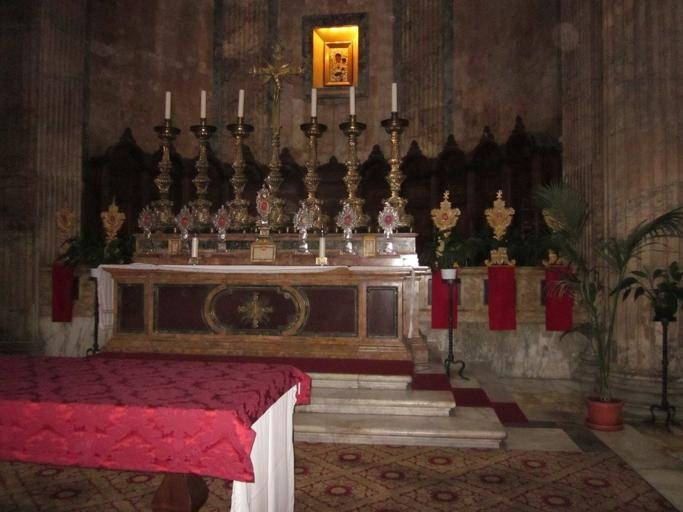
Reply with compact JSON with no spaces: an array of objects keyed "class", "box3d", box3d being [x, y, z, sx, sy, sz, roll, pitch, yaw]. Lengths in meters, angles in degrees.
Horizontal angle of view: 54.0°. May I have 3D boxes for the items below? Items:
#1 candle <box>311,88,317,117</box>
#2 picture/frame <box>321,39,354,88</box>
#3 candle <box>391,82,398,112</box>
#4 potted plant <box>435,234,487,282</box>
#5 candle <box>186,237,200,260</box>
[{"class":"candle","box3d":[-0.327,-1.808,7.931,0.045,0.350,0.211,-1,0,-9]},{"class":"picture/frame","box3d":[-0.047,-3.085,10.714,0.528,0.796,0.409,-1,0,8]},{"class":"candle","box3d":[0.614,-1.813,7.720,0.042,0.365,0.163,0,1,14]},{"class":"potted plant","box3d":[1.556,-0.014,9.094,0.679,0.472,0.666,-3,3,-41]},{"class":"candle","box3d":[-1.742,-0.094,7.909,0.111,0.283,0.254,-1,0,-12]}]
